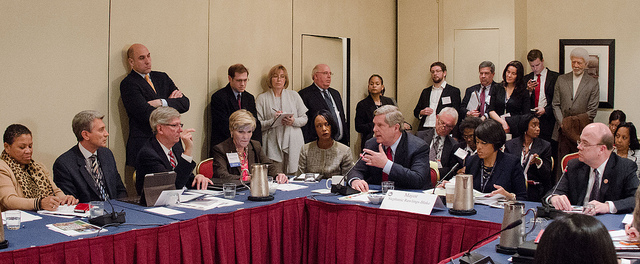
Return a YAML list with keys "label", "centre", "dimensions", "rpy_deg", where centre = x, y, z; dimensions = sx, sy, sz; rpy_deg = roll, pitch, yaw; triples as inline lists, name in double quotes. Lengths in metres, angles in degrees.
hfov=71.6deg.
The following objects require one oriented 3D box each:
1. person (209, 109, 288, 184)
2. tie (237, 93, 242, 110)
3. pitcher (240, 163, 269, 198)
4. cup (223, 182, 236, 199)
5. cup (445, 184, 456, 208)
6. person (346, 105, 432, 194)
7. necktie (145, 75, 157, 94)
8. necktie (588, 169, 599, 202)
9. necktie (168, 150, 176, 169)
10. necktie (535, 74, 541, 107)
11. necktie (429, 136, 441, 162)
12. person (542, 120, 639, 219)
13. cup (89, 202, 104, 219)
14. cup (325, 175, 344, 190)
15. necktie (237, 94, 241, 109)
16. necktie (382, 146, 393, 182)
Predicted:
- label: "person"
  centre: [-1.436, 0.232, 8.125]
  dimensions: [1.135, 1.257, 0.445]
  rpy_deg: [-4, 9, -12]
- label: "tie"
  centre: [-1.713, -0.672, 9.460]
  dimensions: [0.071, 0.273, 0.087]
  rpy_deg: [1, -18, 22]
- label: "pitcher"
  centre: [-0.974, 0.793, 7.169]
  dimensions: [0.336, 0.504, 0.517]
  rpy_deg: [0, 2, 5]
- label: "cup"
  centre: [-1.489, 0.965, 7.265]
  dimensions: [0.206, 0.224, 0.213]
  rpy_deg: [-2, 8, 0]
- label: "cup"
  centre: [1.992, 0.984, 6.794]
  dimensions: [0.127, 0.350, 0.129]
  rpy_deg: [-3, 9, 0]
- label: "person"
  centre: [1.231, 0.278, 7.639]
  dimensions: [1.496, 1.450, 0.657]
  rpy_deg: [-2, 9, 0]
- label: "necktie"
  centre: [-3.379, -0.969, 8.849]
  dimensions: [0.180, 0.341, 0.094]
  rpy_deg: [-3, 9, -2]
- label: "necktie"
  centre: [4.312, 0.834, 6.969]
  dimensions: [0.127, 0.479, 0.128]
  rpy_deg: [2, 10, 30]
- label: "necktie"
  centre: [-2.530, 0.472, 7.598]
  dimensions: [0.073, 0.415, 0.053]
  rpy_deg: [-13, 2, -10]
- label: "necktie"
  centre: [5.056, -0.973, 10.319]
  dimensions: [0.109, 0.733, 0.267]
  rpy_deg: [1, 10, 26]
- label: "necktie"
  centre: [2.417, 0.338, 9.323]
  dimensions: [0.228, 0.490, 0.102]
  rpy_deg: [-7, 10, -29]
- label: "person"
  centre: [4.188, 0.556, 6.832]
  dimensions: [1.424, 1.333, 0.709]
  rpy_deg: [-1, 9, 8]
- label: "cup"
  centre: [-3.342, 1.153, 6.623]
  dimensions: [0.186, 0.208, 0.376]
  rpy_deg: [-7, 8, -26]
- label: "cup"
  centre: [0.228, 0.862, 7.608]
  dimensions: [0.362, 0.222, 0.395]
  rpy_deg: [-2, 7, 0]
- label: "necktie"
  centre: [-1.730, -0.669, 9.422]
  dimensions: [0.048, 0.281, 0.037]
  rpy_deg: [-1, -11, -9]
- label: "necktie"
  centre: [1.169, 0.558, 7.743]
  dimensions: [0.187, 0.584, 0.136]
  rpy_deg: [-11, 12, -41]
